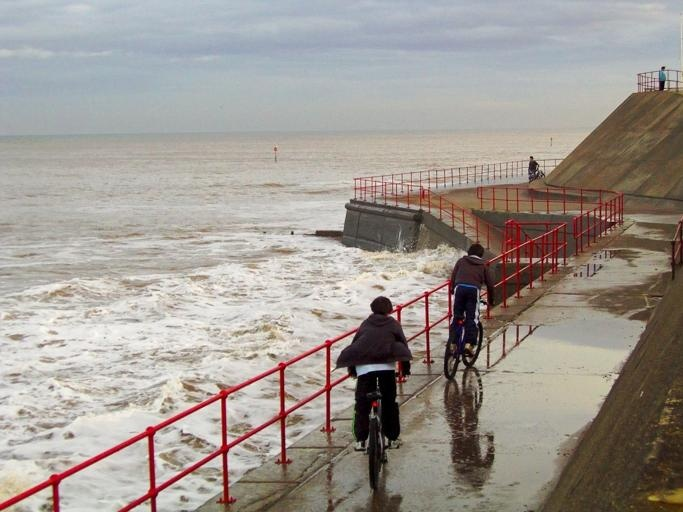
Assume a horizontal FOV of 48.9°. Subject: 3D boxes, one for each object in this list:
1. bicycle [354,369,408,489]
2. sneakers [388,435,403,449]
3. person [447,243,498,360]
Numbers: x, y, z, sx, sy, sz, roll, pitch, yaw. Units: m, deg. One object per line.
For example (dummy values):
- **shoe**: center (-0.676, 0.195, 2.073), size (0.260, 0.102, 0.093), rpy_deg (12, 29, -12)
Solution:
- **bicycle**: center (0.370, 2.040, 8.926), size (0.517, 1.411, 0.722), rpy_deg (5, 17, 18)
- **sneakers**: center (0.655, 2.296, 9.186), size (0.218, 0.133, 0.191), rpy_deg (-2, 1, 26)
- **person**: center (2.034, 0.719, 11.734), size (0.688, 1.815, 0.966), rpy_deg (1, 16, 8)
